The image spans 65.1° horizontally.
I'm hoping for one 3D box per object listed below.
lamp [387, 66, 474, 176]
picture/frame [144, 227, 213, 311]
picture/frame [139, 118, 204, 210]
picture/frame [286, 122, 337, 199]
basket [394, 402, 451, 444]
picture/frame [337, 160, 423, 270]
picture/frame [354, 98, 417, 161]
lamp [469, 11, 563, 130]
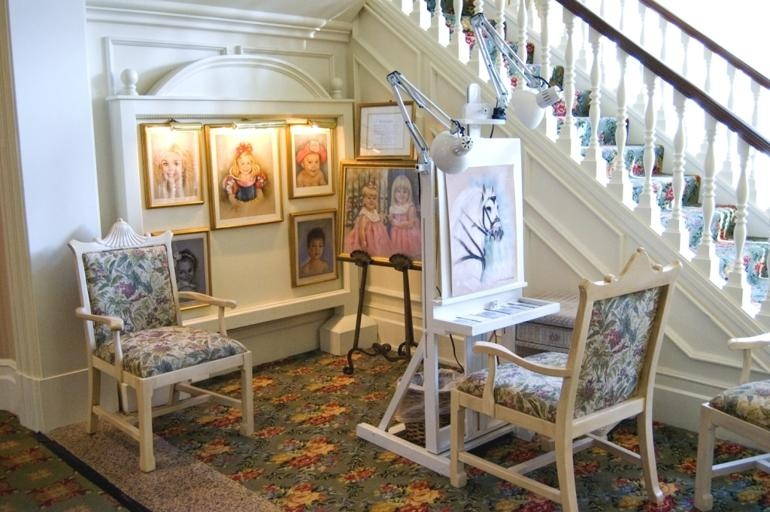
[{"bbox_3d":[0.266,-0.839,3.772,0.489,0.612,1.079,-4,13,-7],"label":"lamp"},{"bbox_3d":[-1.575,0.090,4.508,0.047,0.730,0.640,0,3,38],"label":"picture/frame"},{"bbox_3d":[-1.642,-0.714,4.557,0.666,0.861,0.066,-6,10,-39],"label":"picture/frame"},{"bbox_3d":[-0.661,-0.844,5.202,0.627,0.789,0.076,-7,10,-39],"label":"picture/frame"},{"bbox_3d":[0.244,1.067,4.025,0.288,0.216,0.282,-2,11,4],"label":"basket"},{"bbox_3d":[-0.016,-0.333,4.793,0.993,0.813,0.069,7,10,43],"label":"picture/frame"},{"bbox_3d":[-0.019,-1.053,5.062,0.530,0.466,0.032,6,4,36],"label":"picture/frame"},{"bbox_3d":[0.885,-1.244,4.160,0.533,0.684,1.442,0,13,11],"label":"lamp"}]
